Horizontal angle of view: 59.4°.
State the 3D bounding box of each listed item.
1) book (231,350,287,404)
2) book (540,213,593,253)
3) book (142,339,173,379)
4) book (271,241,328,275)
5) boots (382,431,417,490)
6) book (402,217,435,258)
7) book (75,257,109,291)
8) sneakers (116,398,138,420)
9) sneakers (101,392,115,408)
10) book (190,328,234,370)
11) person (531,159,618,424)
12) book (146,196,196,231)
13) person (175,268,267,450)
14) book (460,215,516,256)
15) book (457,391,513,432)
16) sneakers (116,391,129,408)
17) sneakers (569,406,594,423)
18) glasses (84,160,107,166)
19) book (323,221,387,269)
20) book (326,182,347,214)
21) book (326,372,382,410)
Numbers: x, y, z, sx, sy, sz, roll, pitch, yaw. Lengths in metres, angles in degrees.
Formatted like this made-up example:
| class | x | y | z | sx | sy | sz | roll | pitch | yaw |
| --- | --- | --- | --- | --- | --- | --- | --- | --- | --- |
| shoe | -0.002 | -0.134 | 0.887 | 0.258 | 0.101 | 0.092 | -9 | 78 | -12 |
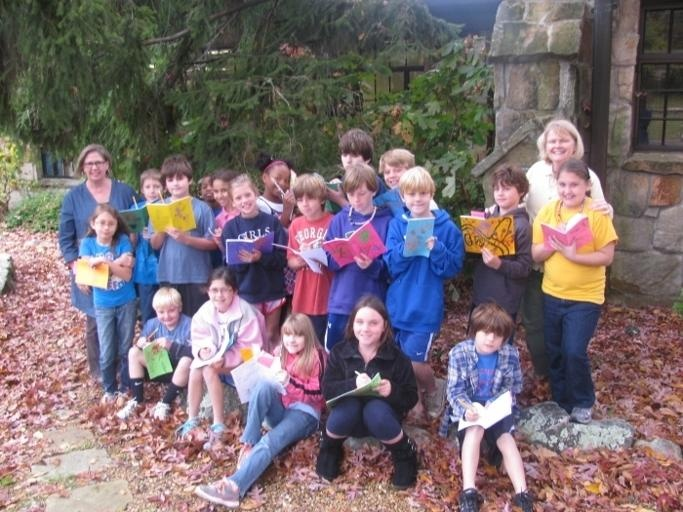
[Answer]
| class | x | y | z | sx | sy | sz | roll | pitch | yaw |
| --- | --- | --- | --- | --- | --- | --- | --- | --- | --- |
| book | -0.652 | 0.964 | 4.759 | 0.405 | 0.362 | 0.148 | -1 | 10 | -8 |
| book | 1.699 | -0.182 | 4.522 | 0.353 | 0.266 | 0.135 | 5 | 11 | 22 |
| book | -1.662 | 0.912 | 5.410 | 0.226 | 0.317 | 0.115 | -25 | -4 | -6 |
| book | -0.301 | 0.027 | 5.163 | 0.358 | 0.311 | 0.577 | -4 | 12 | -20 |
| boots | 0.470 | 1.533 | 4.536 | 0.261 | 0.373 | 0.192 | 0 | 10 | 0 |
| book | 0.610 | -0.140 | 4.690 | 0.269 | 0.425 | 0.041 | -3 | 23 | -10 |
| book | -2.290 | 0.147 | 5.516 | 0.240 | 0.214 | 0.027 | 8 | -2 | -2 |
| sneakers | -1.941 | 1.381 | 5.425 | 0.114 | 0.073 | 0.153 | 31 | 61 | 34 |
| sneakers | -2.192 | 1.344 | 5.620 | 0.104 | 0.085 | 0.095 | 13 | -25 | -30 |
| book | -1.107 | 0.796 | 5.146 | 0.290 | 0.114 | 0.294 | -32 | 44 | -2 |
| person | 1.805 | 0.278 | 4.719 | 0.608 | 2.049 | 0.425 | 4 | 11 | 19 |
| book | -1.549 | -0.366 | 5.399 | 0.432 | 0.334 | 0.320 | -2 | 11 | -10 |
| person | -1.094 | 0.830 | 5.276 | 0.582 | 1.400 | 0.721 | 5 | 6 | 28 |
| book | 1.172 | -0.163 | 4.760 | 0.278 | 0.242 | 0.043 | 6 | 29 | 26 |
| book | 1.094 | 1.185 | 4.468 | 0.420 | 0.325 | 0.279 | 1 | 11 | 4 |
| sneakers | -2.055 | 1.340 | 5.612 | 0.075 | 0.044 | 0.113 | -12 | 29 | 6 |
| sneakers | 1.904 | 1.256 | 4.737 | 0.084 | 0.095 | 0.180 | 0 | 0 | 3 |
| glasses | -2.364 | -0.893 | 5.755 | 0.170 | 0.064 | 0.061 | -6 | 12 | -26 |
| book | 0.123 | -0.091 | 4.826 | 0.431 | 0.310 | 0.125 | -24 | 45 | 6 |
| book | -0.051 | -0.542 | 5.484 | 0.204 | 0.258 | 0.086 | 0 | 22 | 2 |
| book | 0.131 | 1.011 | 4.482 | 0.269 | 0.104 | 0.292 | -17 | -16 | 18 |
